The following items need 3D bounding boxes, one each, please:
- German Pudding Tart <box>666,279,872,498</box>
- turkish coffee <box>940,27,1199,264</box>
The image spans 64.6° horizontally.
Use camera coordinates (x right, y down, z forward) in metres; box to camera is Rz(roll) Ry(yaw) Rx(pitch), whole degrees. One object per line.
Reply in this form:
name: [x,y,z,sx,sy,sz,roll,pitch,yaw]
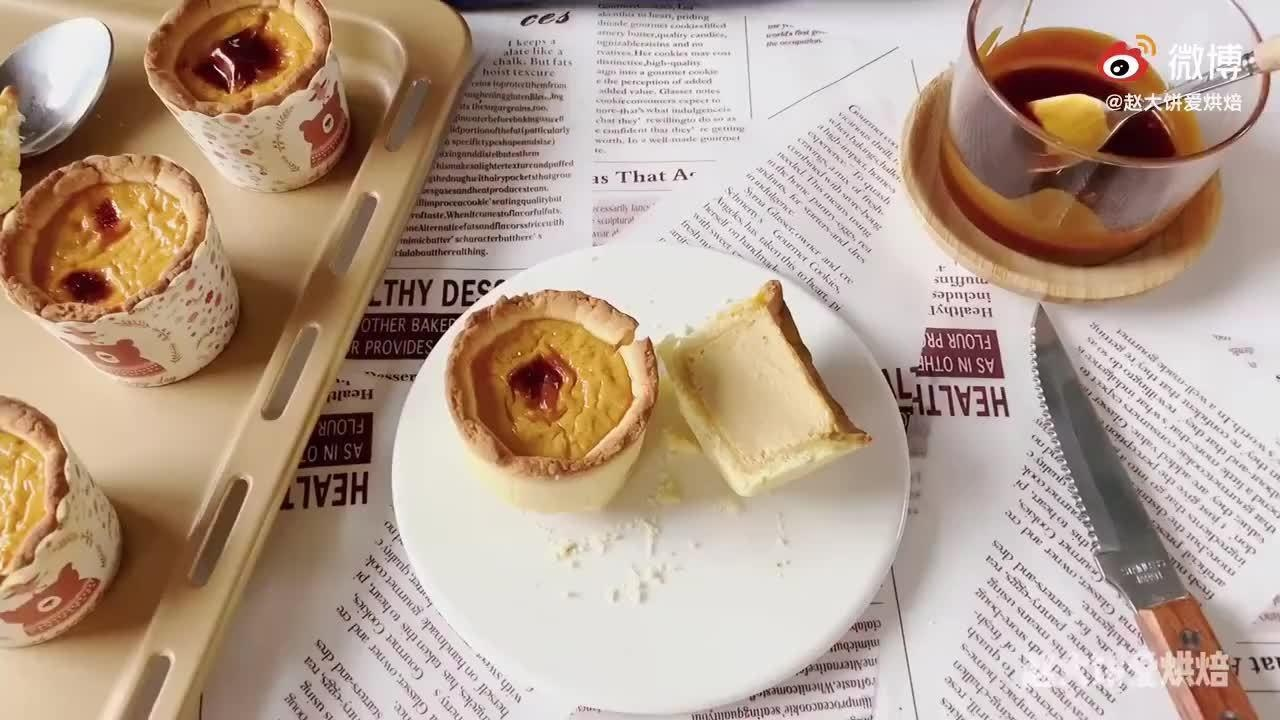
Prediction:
German Pudding Tart: [0.199,0.061,1.707,0.265,0.104,0.321,-31,73,-13]
turkish coffee: [0.696,-0.401,1.890,0.415,0.370,0.574,1,38,2]
